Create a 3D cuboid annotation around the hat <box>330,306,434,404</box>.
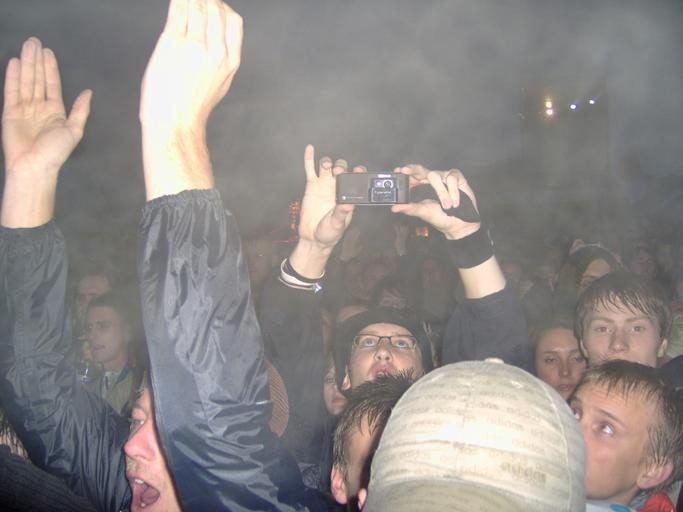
[{"bbox_3d":[0.264,0.558,3.926,0.442,0.362,0.623,0,-12,-1],"label":"hat"}]
